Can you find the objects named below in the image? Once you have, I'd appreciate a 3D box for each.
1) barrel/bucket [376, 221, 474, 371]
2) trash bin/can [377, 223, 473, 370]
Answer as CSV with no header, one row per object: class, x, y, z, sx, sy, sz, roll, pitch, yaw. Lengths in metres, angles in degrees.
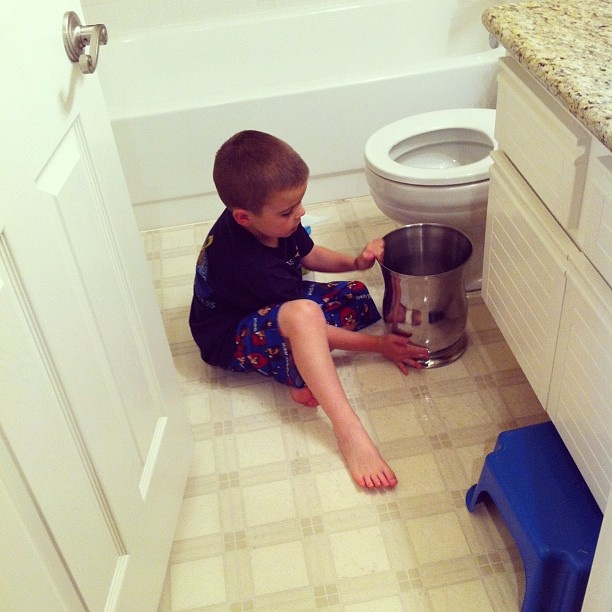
barrel/bucket,0.286,-0.021,1.376,0.306,0.325,0.260,-7,41,5
trash bin/can,0.286,-0.020,1.373,0.293,0.312,0.250,-9,41,3
